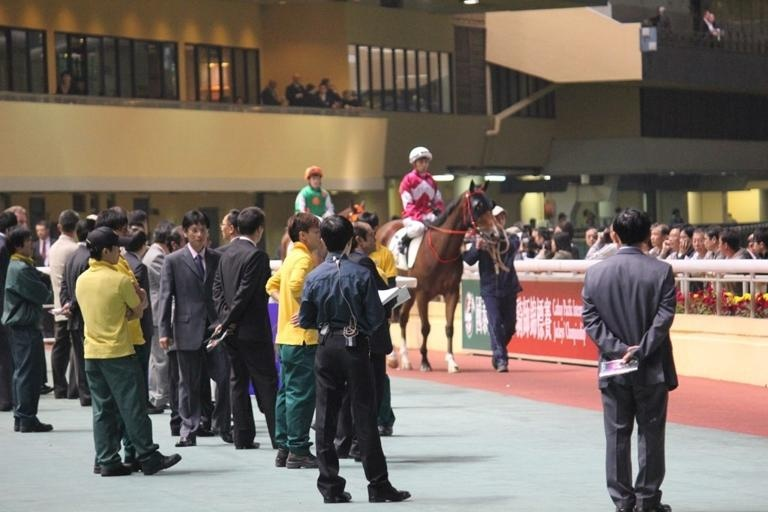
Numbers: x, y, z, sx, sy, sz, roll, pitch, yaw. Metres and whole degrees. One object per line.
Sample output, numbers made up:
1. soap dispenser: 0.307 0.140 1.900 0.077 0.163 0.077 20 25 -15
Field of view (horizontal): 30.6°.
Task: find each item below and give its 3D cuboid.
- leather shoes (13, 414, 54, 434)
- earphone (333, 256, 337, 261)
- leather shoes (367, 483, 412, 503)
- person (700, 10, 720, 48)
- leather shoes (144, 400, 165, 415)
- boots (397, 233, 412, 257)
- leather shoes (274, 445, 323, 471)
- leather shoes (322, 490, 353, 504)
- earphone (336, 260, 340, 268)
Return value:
1. leather shoes: -5.425 2.585 21.635 0.656 0.290 0.224 0 2 -14
2. earphone: -0.672 0.021 19.086 0.070 0.081 0.027 0 2 21
3. leather shoes: 0.046 3.185 19.106 0.671 0.305 0.231 -2 -1 -14
4. person: 11.031 -7.737 48.218 0.872 1.264 0.442 -3 -15 -36
5. leather shoes: -3.668 2.439 22.595 0.209 0.231 0.566 2 3 -26
6. boots: 0.379 -0.204 26.128 0.133 0.579 0.310 6 18 -1
7. leather shoes: -1.246 2.897 20.074 0.646 0.302 0.249 0 -2 -8
8. leather shoes: -0.622 3.270 19.078 0.400 0.179 0.149 -3 3 -25
9. earphone: -0.629 0.097 19.043 0.056 0.090 0.054 -1 2 4
